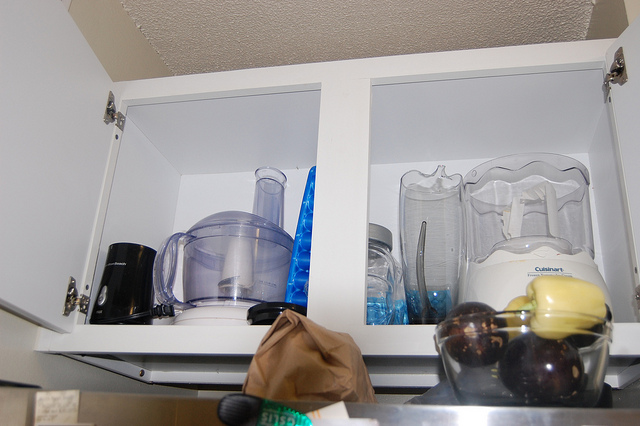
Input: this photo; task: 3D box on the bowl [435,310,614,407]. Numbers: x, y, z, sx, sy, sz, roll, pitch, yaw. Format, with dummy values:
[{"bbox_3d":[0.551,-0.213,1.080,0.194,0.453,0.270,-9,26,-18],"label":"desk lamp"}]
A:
[{"bbox_3d":[0.264,0.185,0.576,0.200,0.115,0.082,-8,-16,20],"label":"bowl"}]
